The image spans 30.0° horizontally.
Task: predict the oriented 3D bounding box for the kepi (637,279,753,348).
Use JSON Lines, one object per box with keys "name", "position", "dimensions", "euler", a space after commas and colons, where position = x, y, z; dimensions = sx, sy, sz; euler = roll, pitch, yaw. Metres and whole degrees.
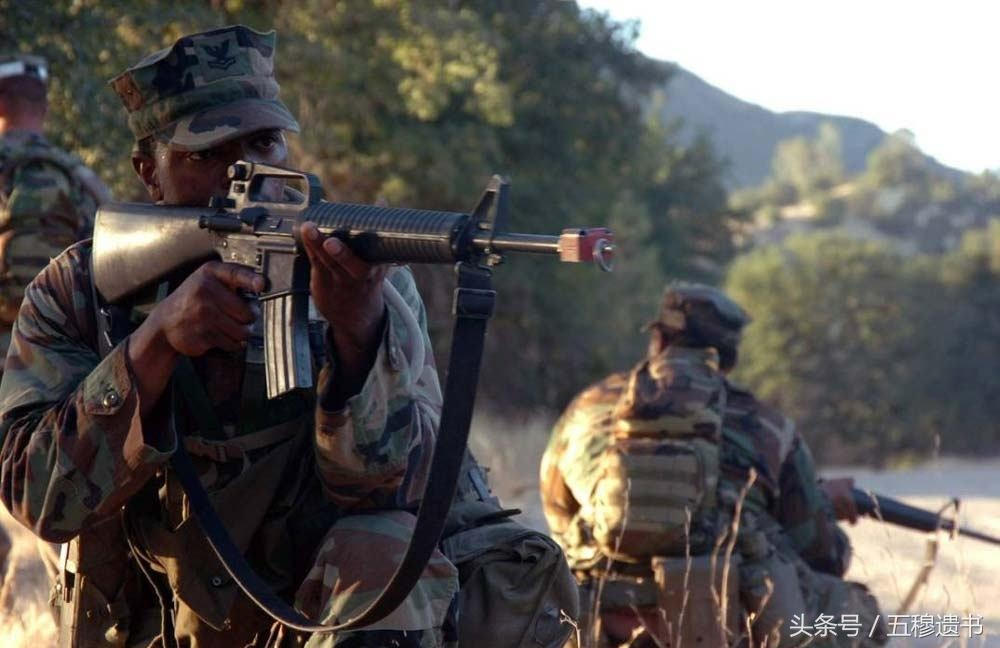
{"name": "kepi", "position": [1.421, -0.090, 13.009], "dimensions": [0.500, 0.352, 0.475], "euler": [20, 7, 0]}
